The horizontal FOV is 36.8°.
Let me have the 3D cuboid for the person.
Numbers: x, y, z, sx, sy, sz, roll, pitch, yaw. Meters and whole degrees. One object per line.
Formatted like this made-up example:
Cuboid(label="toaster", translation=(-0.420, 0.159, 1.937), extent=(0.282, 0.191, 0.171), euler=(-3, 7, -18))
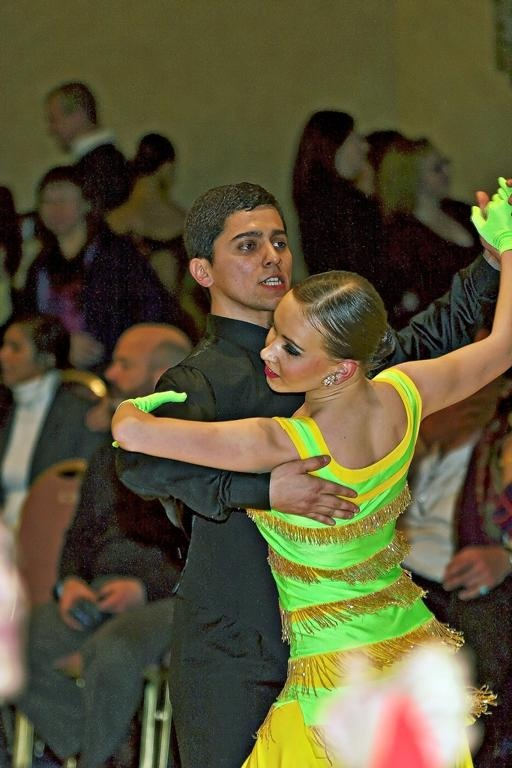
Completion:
Cuboid(label="person", translation=(0.148, 0.157, 1.578), extent=(0.775, 1.085, 0.744), euler=(-4, 22, 1))
